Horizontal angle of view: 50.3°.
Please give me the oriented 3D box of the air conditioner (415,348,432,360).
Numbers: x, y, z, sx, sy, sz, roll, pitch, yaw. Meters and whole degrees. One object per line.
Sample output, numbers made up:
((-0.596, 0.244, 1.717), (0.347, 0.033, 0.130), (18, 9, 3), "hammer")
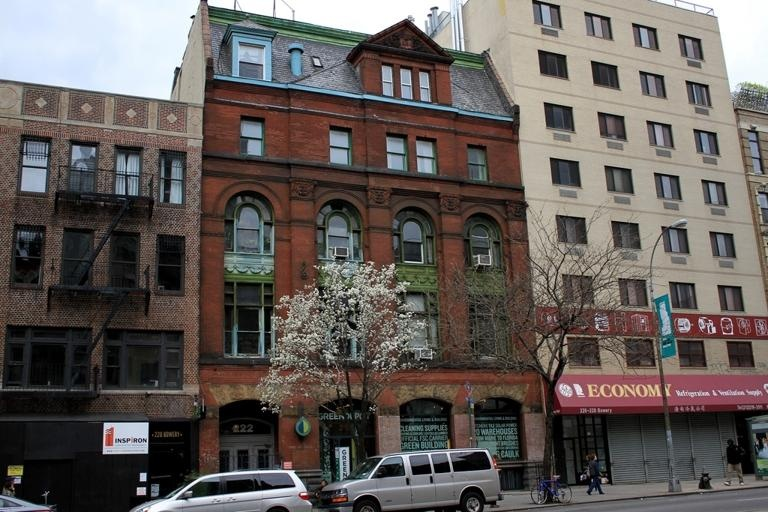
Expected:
((2.298, 5.506, 45.882), (0.704, 0.619, 1.358), (-18, -23, 41), "air conditioner")
